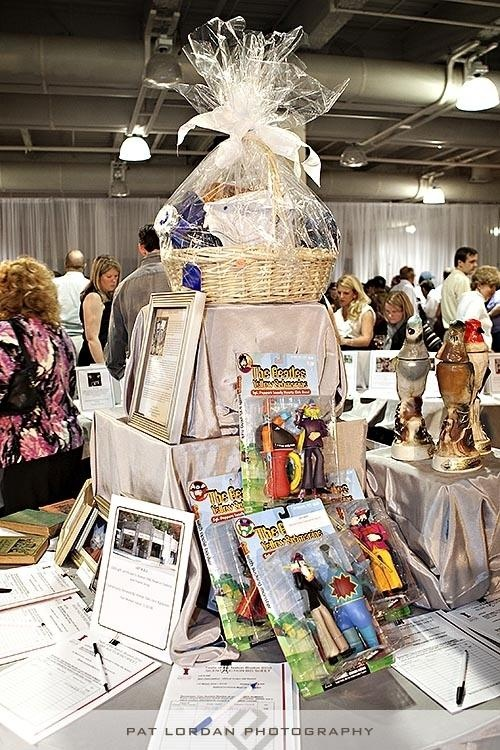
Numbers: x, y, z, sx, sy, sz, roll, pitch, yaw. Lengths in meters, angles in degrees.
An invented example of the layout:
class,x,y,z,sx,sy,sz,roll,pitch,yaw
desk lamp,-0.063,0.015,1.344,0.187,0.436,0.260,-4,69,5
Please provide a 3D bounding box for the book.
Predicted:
class,x,y,z,sx,sy,sz,roll,pitch,yaw
book,0.120,0.224,0.982,0.361,0.523,0.334,-2,3,-41

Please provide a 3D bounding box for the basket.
class,x,y,z,sx,sy,sz,roll,pitch,yaw
basket,-0.006,-0.301,1.233,0.416,0.363,0.409,-1,12,0

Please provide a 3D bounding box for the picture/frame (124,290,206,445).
class,x,y,z,sx,sy,sz,roll,pitch,yaw
picture/frame,-0.179,-0.006,1.124,0.032,0.400,0.353,13,-1,-31

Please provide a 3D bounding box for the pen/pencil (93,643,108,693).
class,x,y,z,sx,sy,sz,roll,pitch,yaw
pen/pencil,-0.242,0.473,0.851,0.019,0.011,0.128,-16,11,-16
